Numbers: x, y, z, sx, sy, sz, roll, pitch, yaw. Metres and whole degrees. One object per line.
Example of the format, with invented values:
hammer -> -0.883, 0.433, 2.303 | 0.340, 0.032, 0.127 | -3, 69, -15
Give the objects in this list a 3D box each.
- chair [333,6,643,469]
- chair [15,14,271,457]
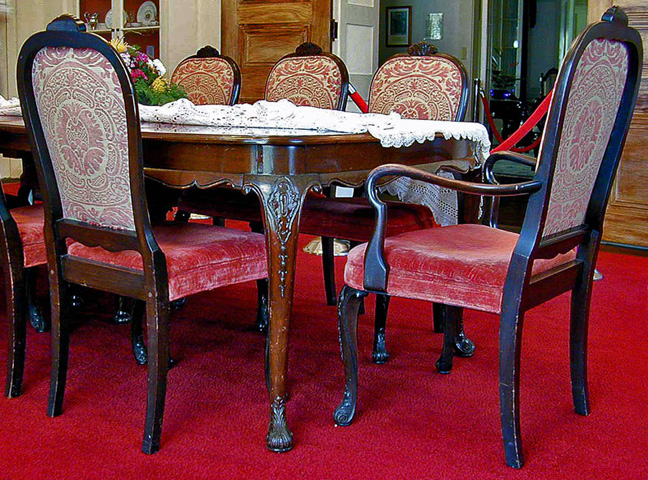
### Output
chair -> 0.698, -0.030, 2.291 | 1.156, 2.077, 1.191 | 7, 9, 40
chair -> -0.602, -0.043, 1.654 | 0.736, 1.215, 0.482 | 5, 14, 19
